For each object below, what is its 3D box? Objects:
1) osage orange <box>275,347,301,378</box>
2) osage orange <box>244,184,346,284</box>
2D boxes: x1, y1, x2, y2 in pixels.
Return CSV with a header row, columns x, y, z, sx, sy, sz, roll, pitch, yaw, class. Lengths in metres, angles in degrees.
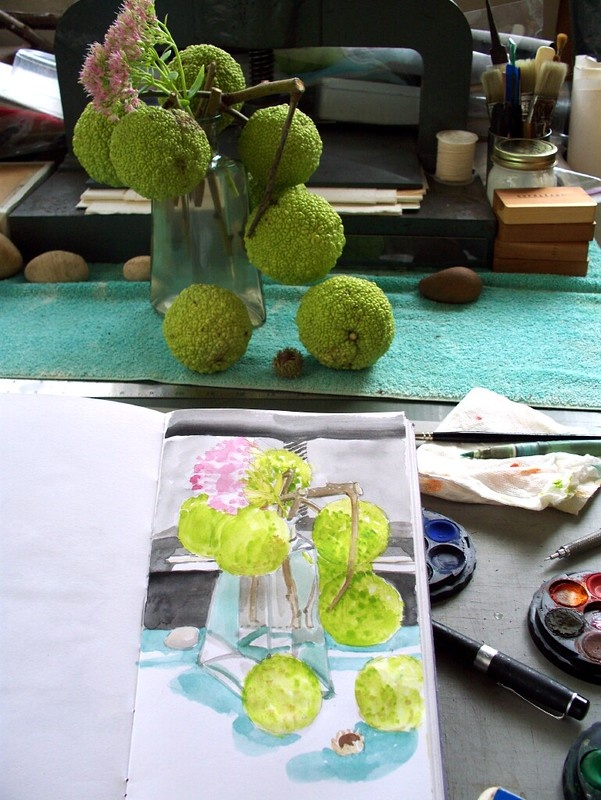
x,y,z,sx,sy,sz,roll,pitch,yaw,class
-0.012,-0.030,0.515,0.023,0.023,0.019,-1,67,-4,osage orange
-0.001,-0.113,0.455,0.080,0.044,0.059,16,81,14,osage orange
